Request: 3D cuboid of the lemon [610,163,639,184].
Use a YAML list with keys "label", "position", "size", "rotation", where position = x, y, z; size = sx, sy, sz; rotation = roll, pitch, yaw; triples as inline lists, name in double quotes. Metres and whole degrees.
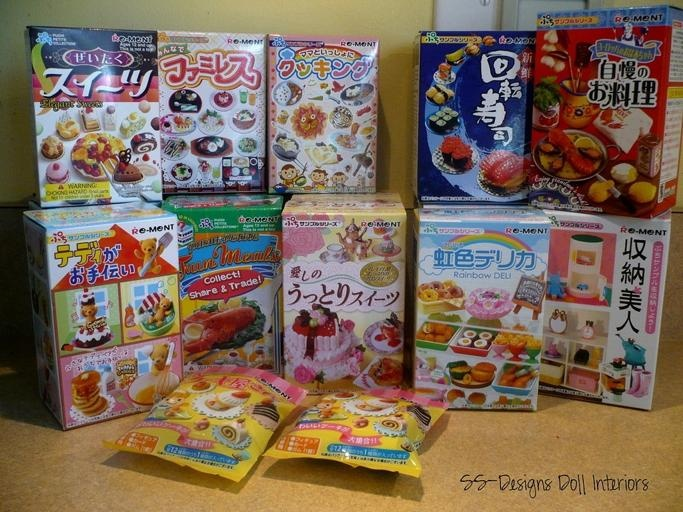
- label: "lemon"
  position: [0.727, -0.211, 1.398]
  size: [0.046, 0.029, 0.054]
  rotation: [23, -19, -14]
